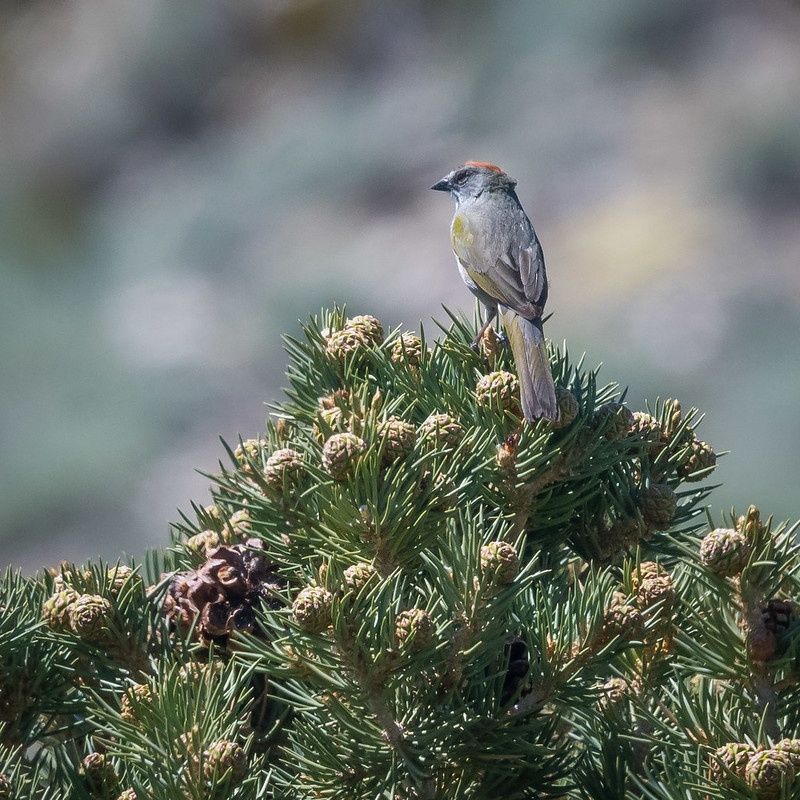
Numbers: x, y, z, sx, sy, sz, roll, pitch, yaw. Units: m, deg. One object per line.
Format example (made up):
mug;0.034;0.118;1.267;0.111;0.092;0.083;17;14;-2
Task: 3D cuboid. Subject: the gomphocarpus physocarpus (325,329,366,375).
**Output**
gomphocarpus physocarpus;-0.083;-0.080;2.496;0.060;0.069;0.065;-1;-11;0
